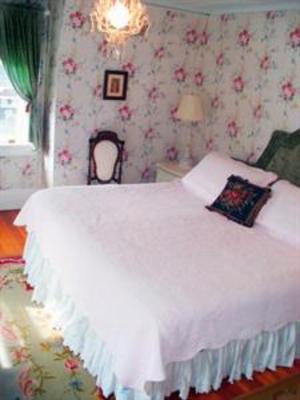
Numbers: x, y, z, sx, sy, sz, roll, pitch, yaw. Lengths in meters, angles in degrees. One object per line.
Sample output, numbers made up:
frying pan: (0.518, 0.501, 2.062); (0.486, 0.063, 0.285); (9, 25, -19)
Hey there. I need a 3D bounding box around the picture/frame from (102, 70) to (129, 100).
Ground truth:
picture/frame: (-0.386, -1.263, 3.328); (0.307, 0.313, 0.024); (-10, 24, -30)
